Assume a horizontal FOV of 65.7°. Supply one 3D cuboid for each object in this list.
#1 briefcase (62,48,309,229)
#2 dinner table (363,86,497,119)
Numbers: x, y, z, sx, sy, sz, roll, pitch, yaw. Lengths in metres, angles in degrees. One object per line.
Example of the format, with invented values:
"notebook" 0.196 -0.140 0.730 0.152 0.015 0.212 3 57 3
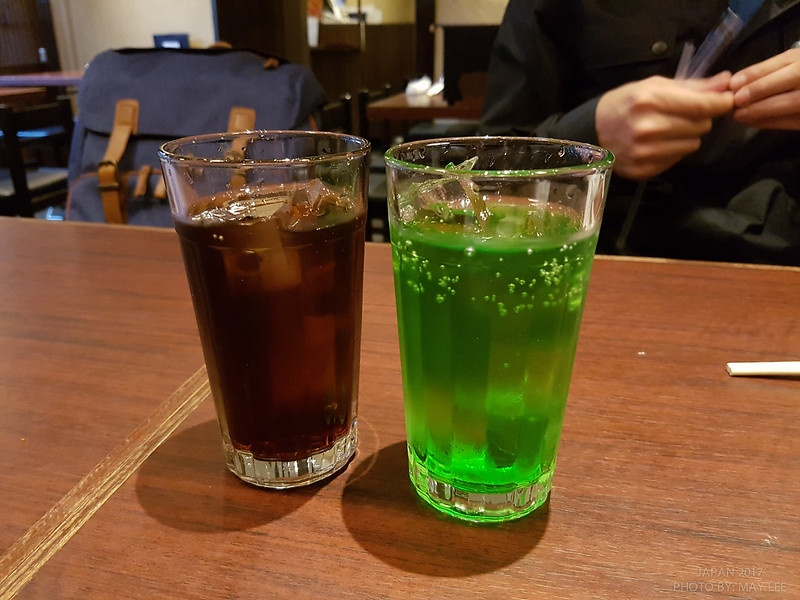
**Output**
"briefcase" -0.844 -0.597 2.657 1.135 0.834 0.534 6 22 11
"dinner table" 0.190 -1.277 4.155 0.712 0.160 0.736 2 23 6
